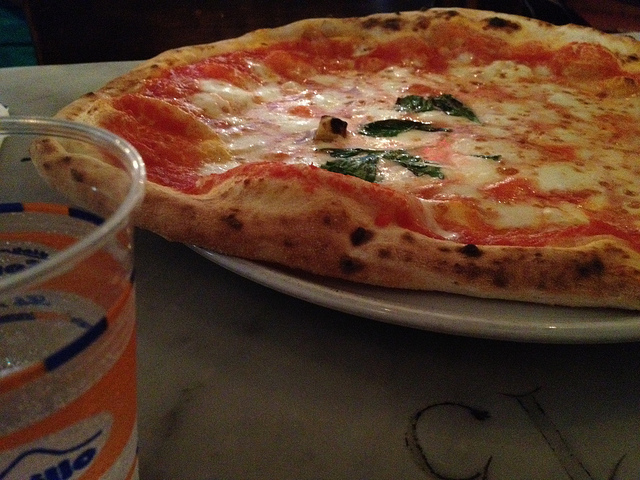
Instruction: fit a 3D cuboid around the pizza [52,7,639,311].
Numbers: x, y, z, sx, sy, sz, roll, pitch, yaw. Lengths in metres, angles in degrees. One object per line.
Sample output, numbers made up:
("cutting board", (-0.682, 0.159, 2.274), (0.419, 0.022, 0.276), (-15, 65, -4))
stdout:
("pizza", (0.099, -0.295, 1.226), (1.116, 0.237, 1.343), (10, 27, 18))
